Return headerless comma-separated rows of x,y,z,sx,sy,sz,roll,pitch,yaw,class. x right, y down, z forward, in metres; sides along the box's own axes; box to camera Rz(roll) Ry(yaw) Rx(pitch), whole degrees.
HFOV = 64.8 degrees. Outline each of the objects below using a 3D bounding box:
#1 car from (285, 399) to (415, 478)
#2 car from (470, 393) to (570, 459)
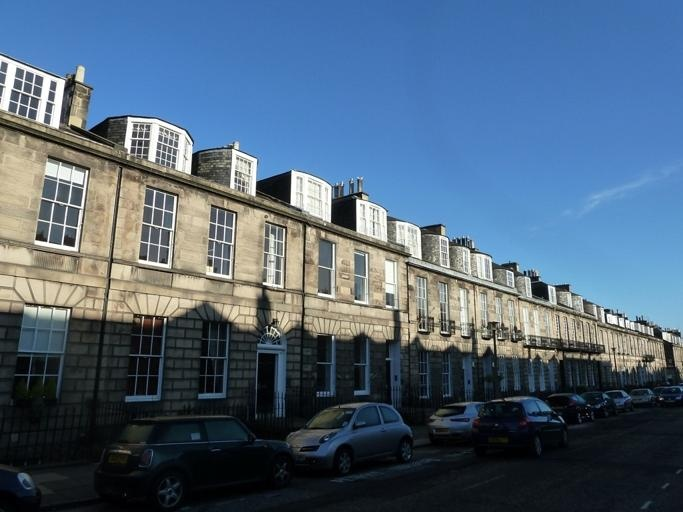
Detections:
0.328,5.379,16.079,3.870,1.934,1.068,8,-20,-35,car
6.122,5.707,18.190,3.197,1.848,1.462,5,-18,-28,car
